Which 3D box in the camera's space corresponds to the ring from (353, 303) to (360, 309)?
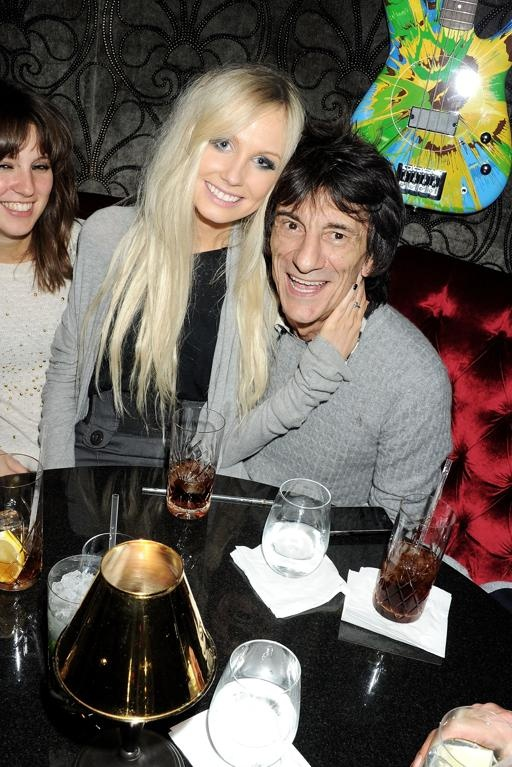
[{"bbox_3d":[0.258,-0.200,1.488,0.014,0.013,0.014,0,38,0],"label":"ring"}]
